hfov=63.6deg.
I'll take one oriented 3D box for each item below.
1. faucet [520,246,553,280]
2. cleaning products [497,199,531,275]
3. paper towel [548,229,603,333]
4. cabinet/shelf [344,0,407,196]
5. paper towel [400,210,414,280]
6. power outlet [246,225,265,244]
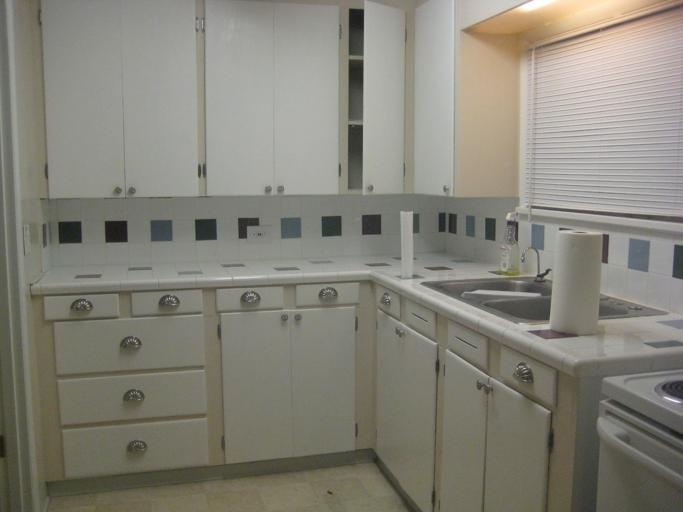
[{"bbox_3d":[0.975,0.031,2.814,0.151,0.217,0.152,-1,2,-22],"label":"faucet"},{"bbox_3d":[0.932,-0.090,2.962,0.142,0.341,0.257,0,9,20],"label":"cleaning products"},{"bbox_3d":[0.847,0.088,1.954,0.190,0.361,0.111,-5,8,-14],"label":"paper towel"},{"bbox_3d":[0.197,-0.908,3.240,0.329,1.061,0.236,-10,11,-42],"label":"cabinet/shelf"},{"bbox_3d":[0.334,-0.059,2.837,0.051,0.336,0.060,-1,8,13],"label":"paper towel"},{"bbox_3d":[-0.541,-0.140,3.478,0.106,0.106,0.026,-4,10,-16],"label":"power outlet"}]
